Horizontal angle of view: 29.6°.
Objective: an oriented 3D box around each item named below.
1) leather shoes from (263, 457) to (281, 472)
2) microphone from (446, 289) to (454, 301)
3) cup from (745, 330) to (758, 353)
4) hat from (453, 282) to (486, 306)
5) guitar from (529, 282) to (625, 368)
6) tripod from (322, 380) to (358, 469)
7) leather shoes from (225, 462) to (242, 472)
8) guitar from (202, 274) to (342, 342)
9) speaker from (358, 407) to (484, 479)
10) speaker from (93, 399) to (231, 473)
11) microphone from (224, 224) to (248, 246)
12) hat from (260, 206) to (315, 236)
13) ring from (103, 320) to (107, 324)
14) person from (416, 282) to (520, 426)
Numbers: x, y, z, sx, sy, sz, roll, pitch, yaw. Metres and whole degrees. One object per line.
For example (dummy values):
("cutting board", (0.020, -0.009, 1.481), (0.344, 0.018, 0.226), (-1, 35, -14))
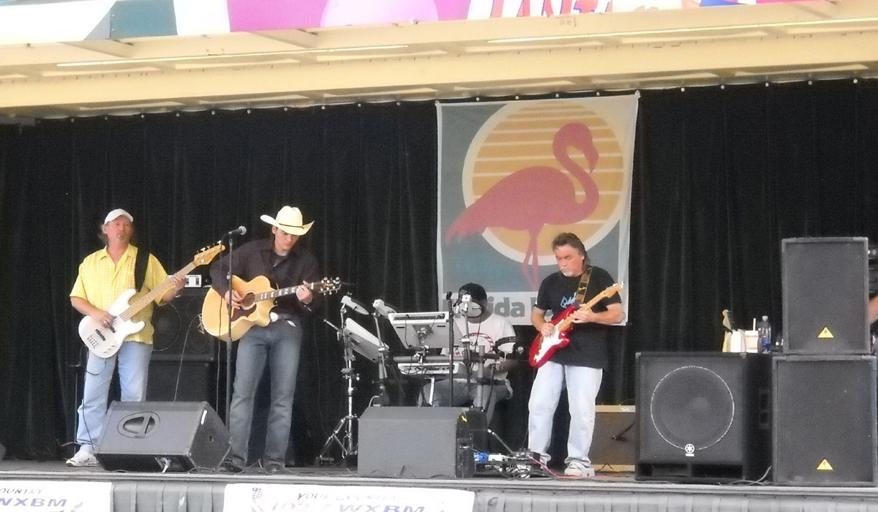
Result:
("leather shoes", (-1.681, 2.101, 17.099), (0.209, 0.160, 0.312), (2, -6, -4))
("microphone", (0.125, 0.382, 16.944), (0.087, 0.086, 0.073), (7, -14, -21))
("cup", (3.130, 0.841, 16.721), (0.134, 0.211, 0.448), (0, -6, 11))
("hat", (0.328, 0.376, 17.550), (0.195, 0.158, 0.299), (-3, -14, 34))
("guitar", (1.427, 0.696, 17.245), (0.149, 0.353, 1.032), (33, -50, -28))
("tripod", (-1.074, 1.794, 18.193), (0.390, 0.907, 0.705), (2, -6, -4))
("leather shoes", (-2.075, 2.119, 16.937), (0.091, 0.049, 0.149), (-3, -8, 41))
("guitar", (-1.874, 0.521, 17.358), (1.557, 0.645, 0.653), (-1, -6, 16))
("speaker", (-0.215, 1.800, 16.325), (1.108, 0.687, 0.388), (1, -6, -4))
("speaker", (-2.772, 1.762, 16.423), (0.980, 0.534, 0.792), (-1, 7, 17))
("microphone", (-2.221, -0.229, 18.121), (0.254, 0.168, 0.453), (1, 6, 9))
("hat", (-1.649, -0.379, 17.525), (0.450, 0.168, 0.420), (13, -4, 33))
("ring", (-3.442, 0.669, 17.278), (0.034, 0.028, 0.032), (3, 3, 0))
("person", (0.337, 1.074, 17.547), (0.878, 1.476, 0.971), (-27, -43, 32))
